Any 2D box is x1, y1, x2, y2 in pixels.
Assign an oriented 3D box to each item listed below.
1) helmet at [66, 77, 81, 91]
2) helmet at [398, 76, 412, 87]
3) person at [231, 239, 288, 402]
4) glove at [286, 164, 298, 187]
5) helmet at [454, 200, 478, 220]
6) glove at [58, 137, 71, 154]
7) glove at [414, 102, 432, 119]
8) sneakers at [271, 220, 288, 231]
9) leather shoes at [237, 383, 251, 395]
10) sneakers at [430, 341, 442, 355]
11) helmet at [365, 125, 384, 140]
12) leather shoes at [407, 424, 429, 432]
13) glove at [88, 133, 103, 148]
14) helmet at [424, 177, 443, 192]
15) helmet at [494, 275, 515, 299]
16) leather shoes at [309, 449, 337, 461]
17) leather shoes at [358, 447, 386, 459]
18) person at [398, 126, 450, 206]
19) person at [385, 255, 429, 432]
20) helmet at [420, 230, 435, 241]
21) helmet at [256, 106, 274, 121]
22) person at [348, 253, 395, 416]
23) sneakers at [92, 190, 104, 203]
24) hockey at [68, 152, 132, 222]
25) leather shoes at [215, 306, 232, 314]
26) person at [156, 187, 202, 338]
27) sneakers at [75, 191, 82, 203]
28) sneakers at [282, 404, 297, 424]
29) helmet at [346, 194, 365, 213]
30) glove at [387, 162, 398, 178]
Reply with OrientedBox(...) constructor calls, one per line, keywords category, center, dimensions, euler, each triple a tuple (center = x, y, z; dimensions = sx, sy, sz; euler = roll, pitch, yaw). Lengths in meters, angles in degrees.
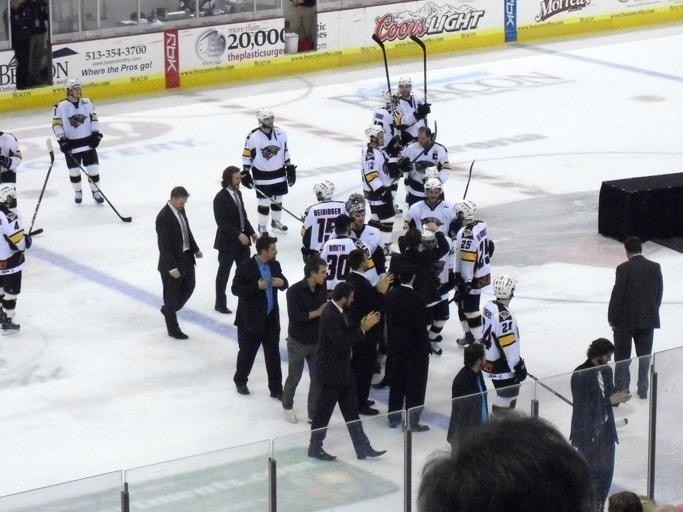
OrientedBox(category="helmet", center=(-4.181, -2.636, 14.928), dimensions=(0.226, 0.197, 0.157), euler=(1, 49, 5))
OrientedBox(category="helmet", center=(1.012, -2.761, 15.538), dimensions=(0.194, 0.199, 0.231), euler=(3, 29, 6))
OrientedBox(category="person", center=(-0.829, 0.640, 9.650), dimensions=(0.602, 1.658, 0.524), euler=(5, 8, -6))
OrientedBox(category="glove", center=(-0.725, -1.150, 13.929), dimensions=(0.184, 0.271, 0.122), euler=(5, -21, -2))
OrientedBox(category="helmet", center=(1.353, -0.485, 10.653), dimensions=(0.259, 0.227, 0.194), euler=(17, 36, 30))
OrientedBox(category="glove", center=(-4.338, -1.706, 15.036), dimensions=(0.193, 0.253, 0.277), euler=(4, 8, -11))
OrientedBox(category="glove", center=(1.261, -2.293, 15.259), dimensions=(0.218, 0.266, 0.110), euler=(2, 50, -9))
OrientedBox(category="sneakers", center=(-0.969, -0.438, 14.470), dimensions=(0.111, 0.126, 0.319), euler=(-23, 26, -33))
OrientedBox(category="leather shoes", center=(-1.010, 1.375, 9.876), dimensions=(0.087, 0.051, 0.146), euler=(-6, 8, -33))
OrientedBox(category="sneakers", center=(1.072, 1.045, 10.798), dimensions=(0.097, 0.097, 0.248), euler=(-9, 13, -26))
OrientedBox(category="helmet", center=(0.430, -1.696, 13.277), dimensions=(0.232, 0.207, 0.158), euler=(-14, 47, 4))
OrientedBox(category="leather shoes", center=(0.544, 1.211, 6.754), dimensions=(0.171, 0.059, 0.052), euler=(-5, 34, -5))
OrientedBox(category="glove", center=(-3.894, -1.828, 15.280), dimensions=(0.226, 0.234, 0.249), euler=(5, 24, 0))
OrientedBox(category="helmet", center=(1.068, -0.820, 11.234), dimensions=(0.162, 0.154, 0.186), euler=(1, -9, 1))
OrientedBox(category="helmet", center=(1.483, 0.297, 8.819), dimensions=(0.185, 0.210, 0.224), euler=(6, 39, 18))
OrientedBox(category="leather shoes", center=(-0.130, 1.344, 6.468), dimensions=(0.188, 0.111, 0.068), euler=(-2, 21, 2))
OrientedBox(category="leather shoes", center=(0.199, 1.358, 6.598), dimensions=(0.248, 0.076, 0.054), euler=(-2, 11, -43))
OrientedBox(category="person", center=(1.159, -1.061, 13.556), dimensions=(0.775, 1.400, 0.482), euler=(3, 21, 9))
OrientedBox(category="person", center=(0.625, 0.753, 9.463), dimensions=(0.461, 1.461, 1.407), euler=(6, 8, 3))
OrientedBox(category="helmet", center=(0.903, -0.210, 10.213), dimensions=(0.138, 0.084, 0.139), euler=(8, 12, 40))
OrientedBox(category="helmet", center=(-1.084, -1.951, 13.526), dimensions=(0.208, 0.166, 0.297), euler=(4, 7, -9))
OrientedBox(category="person", center=(0.305, 0.771, 9.477), dimensions=(0.587, 1.584, 0.484), euler=(-1, 0, -3))
OrientedBox(category="sneakers", center=(-3.935, -0.944, 15.425), dimensions=(0.102, 0.128, 0.286), euler=(-21, 41, -30))
OrientedBox(category="hockey", center=(-3.962, -1.061, 15.631), dimensions=(1.998, 0.141, 0.297), euler=(36, 65, 16))
OrientedBox(category="leather shoes", center=(-1.458, 0.674, 11.797), dimensions=(0.198, 0.116, 0.079), euler=(5, 14, 18))
OrientedBox(category="person", center=(-1.889, 0.094, 11.083), dimensions=(0.457, 1.746, 0.507), euler=(9, 9, 20))
OrientedBox(category="sneakers", center=(-4.223, -0.924, 15.424), dimensions=(0.082, 0.093, 0.213), euler=(1, 49, -7))
OrientedBox(category="sneakers", center=(-0.495, 1.551, 9.300), dimensions=(0.076, 0.081, 0.213), euler=(-7, 18, -27))
OrientedBox(category="helmet", center=(0.148, -0.535, 10.564), dimensions=(0.187, 0.236, 0.215), euler=(1, 55, -8))
OrientedBox(category="glove", center=(0.800, -1.308, 14.896), dimensions=(0.067, 0.200, 0.235), euler=(-11, 24, -33))
